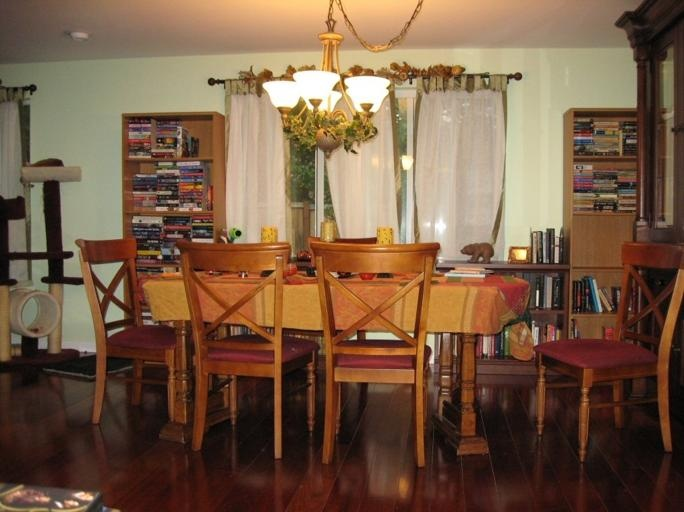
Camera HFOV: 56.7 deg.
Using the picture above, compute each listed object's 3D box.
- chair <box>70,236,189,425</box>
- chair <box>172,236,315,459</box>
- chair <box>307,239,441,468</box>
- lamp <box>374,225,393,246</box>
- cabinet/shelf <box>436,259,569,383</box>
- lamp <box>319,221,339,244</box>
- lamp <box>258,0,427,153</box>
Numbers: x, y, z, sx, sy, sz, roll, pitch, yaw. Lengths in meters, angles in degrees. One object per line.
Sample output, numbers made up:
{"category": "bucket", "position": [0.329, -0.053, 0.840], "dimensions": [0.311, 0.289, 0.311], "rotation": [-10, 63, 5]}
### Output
{"category": "chair", "position": [-1.328, 0.509, 4.281], "dimensions": [0.696, 1.213, 0.692], "rotation": [1, 3, 8]}
{"category": "chair", "position": [-0.551, 0.542, 3.912], "dimensions": [0.807, 1.259, 0.873], "rotation": [0, 3, -7]}
{"category": "chair", "position": [0.191, 0.509, 3.735], "dimensions": [0.704, 1.264, 0.628], "rotation": [1, 11, 3]}
{"category": "lamp", "position": [0.283, -0.138, 4.264], "dimensions": [0.120, 0.141, 0.137], "rotation": [-2, 7, -30]}
{"category": "cabinet/shelf", "position": [1.129, 0.485, 4.420], "dimensions": [0.870, 0.888, 0.349], "rotation": [1, -7, -3]}
{"category": "lamp", "position": [-0.113, -0.165, 4.371], "dimensions": [0.159, 0.181, 0.147], "rotation": [1, 2, 11]}
{"category": "lamp", "position": [-0.163, -1.330, 4.590], "dimensions": [0.801, 1.138, 1.462], "rotation": [-1, 11, -7]}
